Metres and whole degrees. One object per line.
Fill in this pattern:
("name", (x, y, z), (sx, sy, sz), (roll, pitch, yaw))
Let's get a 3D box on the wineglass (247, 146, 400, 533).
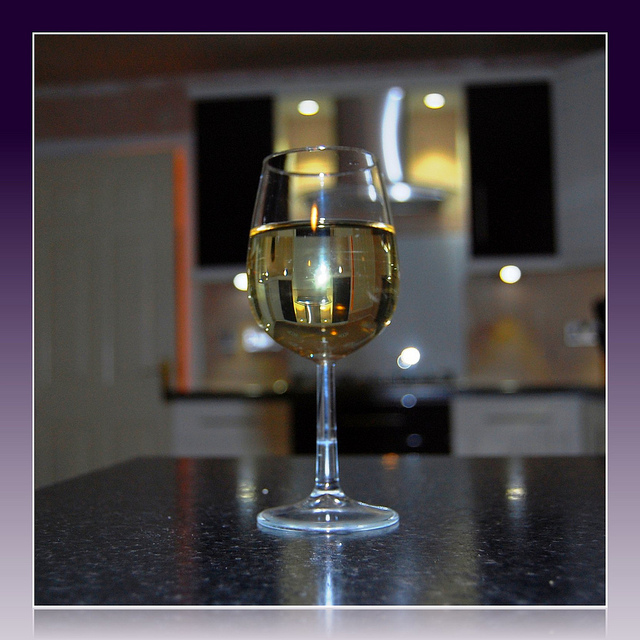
("wineglass", (0.005, 0.010, 0.515), (0.085, 0.221, 0.075), (2, -1, 25))
